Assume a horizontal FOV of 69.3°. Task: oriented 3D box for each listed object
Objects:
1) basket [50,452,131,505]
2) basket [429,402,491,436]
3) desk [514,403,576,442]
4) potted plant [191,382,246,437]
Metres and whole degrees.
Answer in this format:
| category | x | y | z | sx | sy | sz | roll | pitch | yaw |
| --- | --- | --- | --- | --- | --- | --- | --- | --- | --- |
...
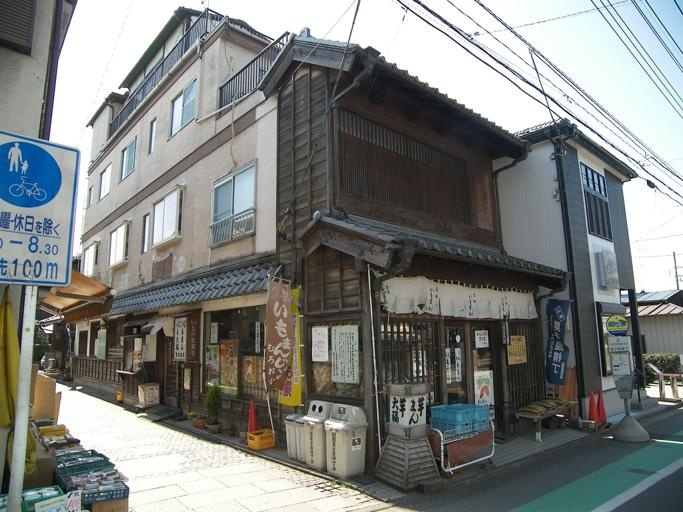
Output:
| category | x | y | z | sx | sy | sz | roll | pitch | yaw |
| --- | --- | --- | --- | --- | --- | --- | --- | --- | --- |
| basket | -3.829 | 3.312 | 7.524 | 0.606 | 0.298 | 1.296 | 9 | -11 | -31 |
| basket | 2.552 | 3.451 | 10.444 | 1.229 | 0.505 | 0.605 | 0 | -3 | -13 |
| desk | 5.272 | 4.163 | 12.861 | 2.135 | 0.717 | 0.706 | 3 | -5 | -44 |
| potted plant | -3.205 | 4.102 | 13.347 | 0.615 | 1.239 | 2.068 | 3 | -5 | -44 |
